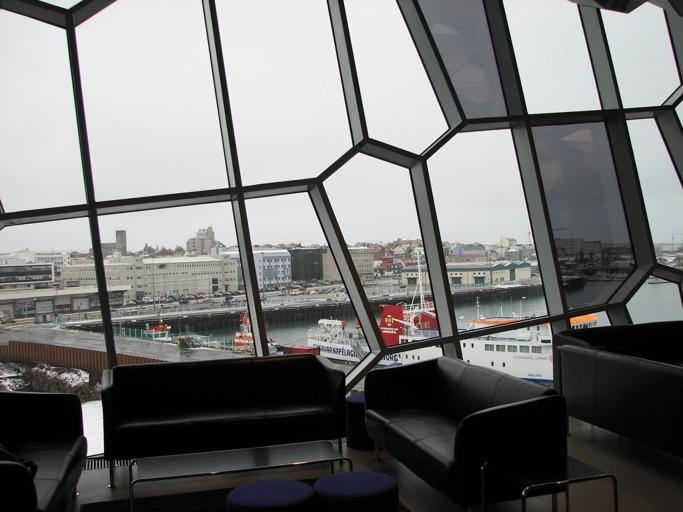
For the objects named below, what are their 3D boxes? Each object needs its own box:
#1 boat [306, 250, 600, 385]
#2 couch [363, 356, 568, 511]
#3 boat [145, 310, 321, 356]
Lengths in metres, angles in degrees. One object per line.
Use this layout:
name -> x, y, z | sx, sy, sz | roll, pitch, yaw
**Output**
boat -> 1.343, 0.885, 6.545 | 3.664, 1.112, 0.661 | -1, 1, 35
couch -> 1.051, 1.551, 4.443 | 1.045, 1.149, 1.628 | -6, -2, -22
boat -> -1.289, 0.924, 5.929 | 1.793, 0.422, 0.138 | -6, -2, -15
